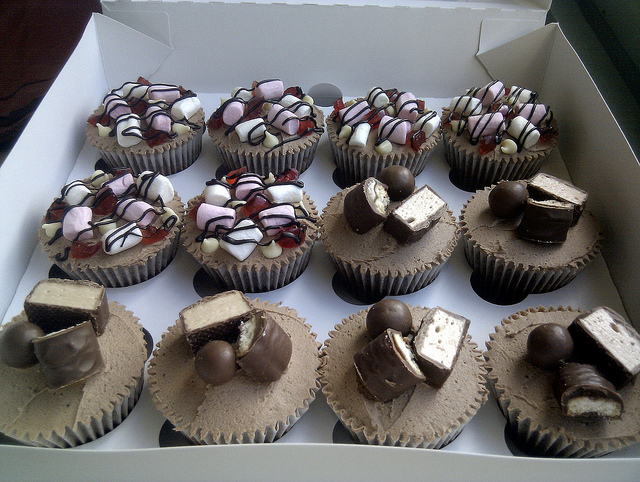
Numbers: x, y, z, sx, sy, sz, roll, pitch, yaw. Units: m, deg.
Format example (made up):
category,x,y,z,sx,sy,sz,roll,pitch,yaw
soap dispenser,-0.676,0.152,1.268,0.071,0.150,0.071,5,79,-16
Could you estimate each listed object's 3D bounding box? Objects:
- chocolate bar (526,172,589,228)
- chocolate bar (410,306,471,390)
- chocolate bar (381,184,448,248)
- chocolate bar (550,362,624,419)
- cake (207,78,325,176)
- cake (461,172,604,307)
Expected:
category,x,y,z,sx,sy,sz,roll,pitch,yaw
chocolate bar,1.518,-0.300,3.990,0.380,0.215,0.294,29,54,25
chocolate bar,0.673,0.602,3.573,0.242,0.225,0.389,18,49,13
chocolate bar,0.619,-0.164,4.036,0.271,0.258,0.429,33,49,30
chocolate bar,1.476,0.799,3.436,0.300,0.218,0.265,-4,18,19
cake,-0.405,-0.811,4.699,0.890,0.576,0.564,0,40,-5
cake,1.363,0.023,4.100,0.888,0.718,0.551,9,40,5
